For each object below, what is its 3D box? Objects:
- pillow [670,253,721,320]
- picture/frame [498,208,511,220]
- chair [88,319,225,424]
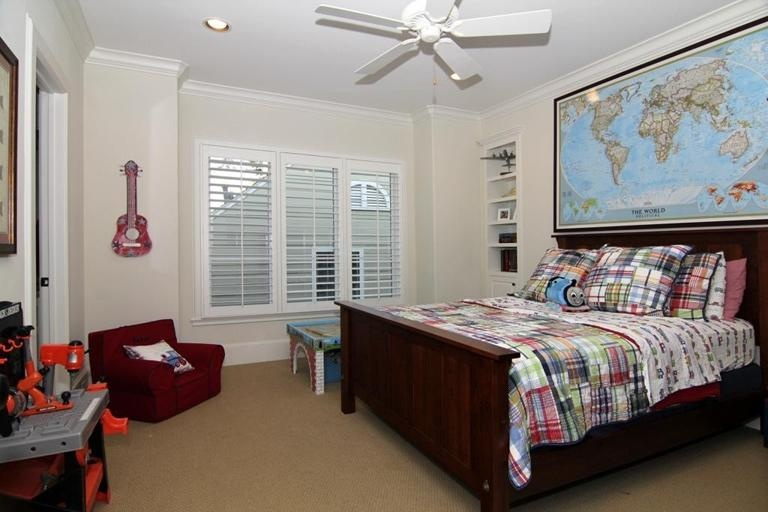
[{"bbox_3d":[2.565,0.255,4.044,0.539,0.504,0.122,7,-6,-20],"label":"pillow"},{"bbox_3d":[1.531,-0.526,6.181,0.068,0.171,0.177,-3,7,-43],"label":"picture/frame"},{"bbox_3d":[-2.167,0.953,4.616,0.929,0.776,0.981,-1,-1,21],"label":"chair"}]
